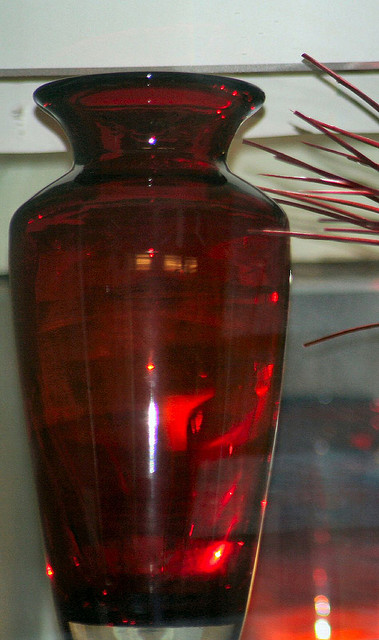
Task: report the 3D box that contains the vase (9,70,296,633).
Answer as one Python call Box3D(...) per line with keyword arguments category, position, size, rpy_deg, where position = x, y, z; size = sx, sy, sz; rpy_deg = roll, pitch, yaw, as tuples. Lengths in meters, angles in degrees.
Box3D(category="vase", position=(-0.030, 0.026, 0.422), size=(0.173, 0.341, 0.134), rpy_deg=(4, 20, 6))
